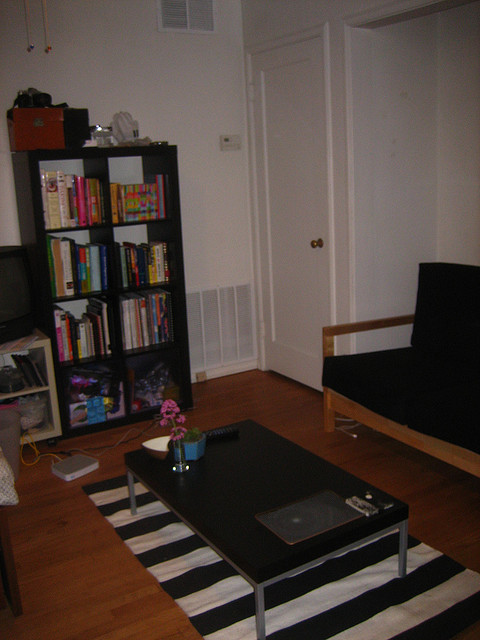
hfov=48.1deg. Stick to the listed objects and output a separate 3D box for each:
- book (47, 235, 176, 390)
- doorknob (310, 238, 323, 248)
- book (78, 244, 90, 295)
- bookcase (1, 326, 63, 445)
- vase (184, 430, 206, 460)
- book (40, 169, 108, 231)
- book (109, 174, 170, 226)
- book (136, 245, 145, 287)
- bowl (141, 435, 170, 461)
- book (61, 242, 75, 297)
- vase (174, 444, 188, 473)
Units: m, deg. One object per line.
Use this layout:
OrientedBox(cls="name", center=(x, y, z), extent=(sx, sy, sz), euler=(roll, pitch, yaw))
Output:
OrientedBox(cls="book", center=(-0.770, -0.073, 3.265), extent=(0.737, 0.888, 0.458), euler=(-8, 11, -24))
OrientedBox(cls="doorknob", center=(0.477, -0.473, 3.313), extent=(0.062, 0.050, 0.044), euler=(13, 47, 19))
OrientedBox(cls="book", center=(-0.883, -0.290, 3.042), extent=(0.085, 0.222, 0.239), euler=(-4, 14, -15))
OrientedBox(cls="bookcase", center=(-1.125, 0.371, 2.954), extent=(0.235, 0.595, 0.406), euler=(-3, 10, 2))
OrientedBox(cls="vase", center=(-0.168, 0.463, 2.053), extent=(0.102, 0.084, 0.111), euler=(-6, 18, -22))
OrientedBox(cls="book", center=(-0.923, -0.634, 2.997), extent=(0.352, 0.313, 0.185), euler=(-2, -9, -20))
OrientedBox(cls="book", center=(-0.631, -0.729, 3.197), extent=(0.368, 0.248, 0.183), euler=(-15, 21, -39))
OrientedBox(cls="book", center=(-0.587, -0.322, 3.220), extent=(0.042, 0.177, 0.177), euler=(-3, 9, -6))
OrientedBox(cls="bowl", center=(-0.322, 0.507, 2.124), extent=(0.114, 0.056, 0.072), euler=(-5, 6, -31))
OrientedBox(cls="book", center=(-0.952, -0.278, 2.968), extent=(0.050, 0.212, 0.209), euler=(-1, 5, -9))
OrientedBox(cls="vase", center=(-0.216, 0.498, 1.951), extent=(0.044, 0.094, 0.075), euler=(-5, 10, -9))
